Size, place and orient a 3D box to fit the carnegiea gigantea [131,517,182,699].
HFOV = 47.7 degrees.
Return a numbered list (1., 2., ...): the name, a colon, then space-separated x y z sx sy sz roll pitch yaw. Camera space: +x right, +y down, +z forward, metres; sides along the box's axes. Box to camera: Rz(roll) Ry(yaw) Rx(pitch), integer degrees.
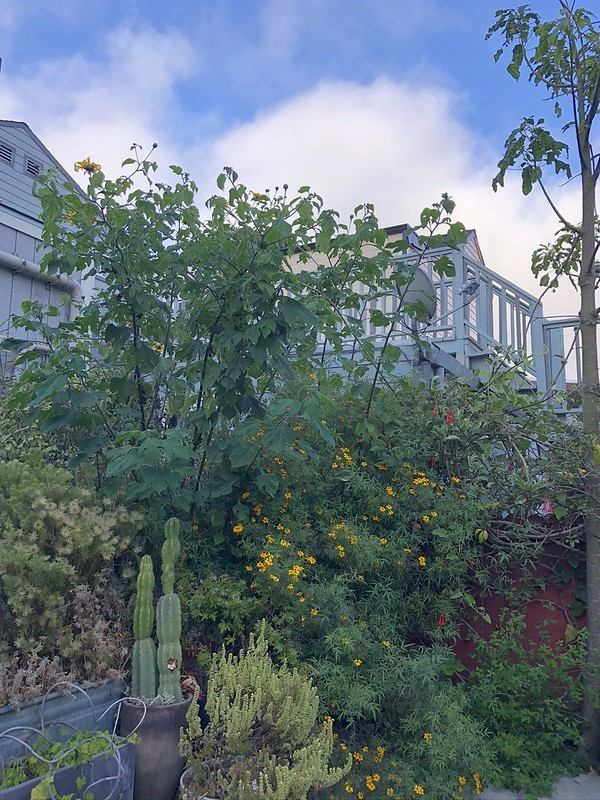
1. carnegiea gigantea: -0.800 1.212 3.783 0.299 1.121 0.190 5 13 2
